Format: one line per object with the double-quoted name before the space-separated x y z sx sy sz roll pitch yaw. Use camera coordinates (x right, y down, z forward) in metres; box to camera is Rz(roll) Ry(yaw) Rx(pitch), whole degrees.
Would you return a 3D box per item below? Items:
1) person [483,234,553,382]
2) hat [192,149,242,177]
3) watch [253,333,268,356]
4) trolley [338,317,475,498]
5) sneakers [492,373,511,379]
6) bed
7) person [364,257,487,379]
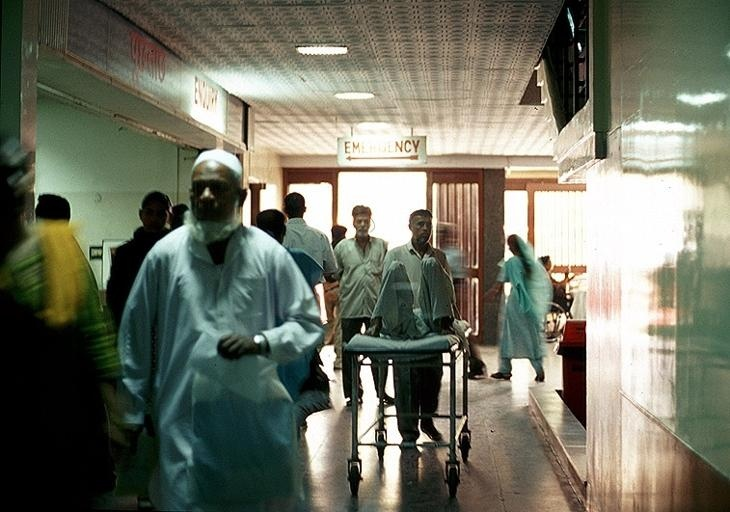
"person" 1.981 0.637 8.380 0.665 1.835 0.691 1 2 13
"hat" -0.574 -0.380 2.588 0.140 0.108 0.143 2 1 -23
"watch" -0.394 0.334 2.479 0.048 0.071 0.066 3 1 11
"trolley" 0.373 1.004 5.039 0.666 0.955 1.449 0 3 7
"sneakers" 1.705 1.493 8.190 0.239 0.093 0.179 1 2 11
"bed" 0.364 1.147 5.091 0.793 1.080 1.646 -3 -6 10
"person" 0.633 0.364 4.868 0.696 0.479 0.901 -4 14 -39
